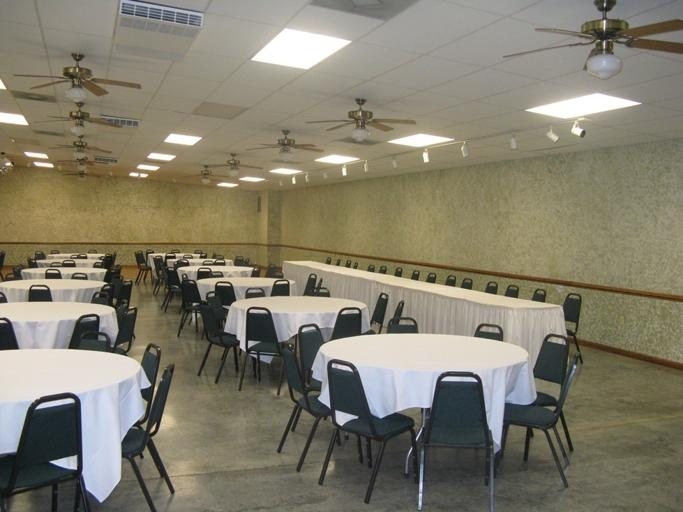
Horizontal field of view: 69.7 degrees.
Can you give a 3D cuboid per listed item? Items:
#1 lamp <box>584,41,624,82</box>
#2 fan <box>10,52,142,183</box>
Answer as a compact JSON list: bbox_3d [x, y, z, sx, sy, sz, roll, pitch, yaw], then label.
[{"bbox_3d":[1.884,-1.436,3.535,0.221,0.294,0.311,0,1,24],"label":"lamp"},{"bbox_3d":[-4.529,-2.310,8.399,1.997,1.654,1.826,0,3,-9],"label":"fan"}]
